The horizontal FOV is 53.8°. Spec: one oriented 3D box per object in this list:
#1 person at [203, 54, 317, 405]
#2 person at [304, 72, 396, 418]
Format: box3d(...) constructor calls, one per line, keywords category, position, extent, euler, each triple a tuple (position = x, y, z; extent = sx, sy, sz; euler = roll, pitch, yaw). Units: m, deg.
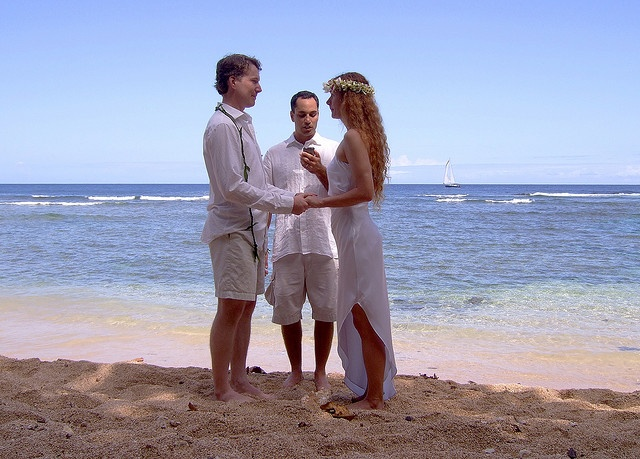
box3d(category="person", position=(-0.755, -0.018, 6.351), extent=(0.844, 3.465, 0.567), euler=(0, 5, -10))
box3d(category="person", position=(0.387, 0.103, 6.219), extent=(0.803, 3.298, 0.571), euler=(1, 5, 0))
